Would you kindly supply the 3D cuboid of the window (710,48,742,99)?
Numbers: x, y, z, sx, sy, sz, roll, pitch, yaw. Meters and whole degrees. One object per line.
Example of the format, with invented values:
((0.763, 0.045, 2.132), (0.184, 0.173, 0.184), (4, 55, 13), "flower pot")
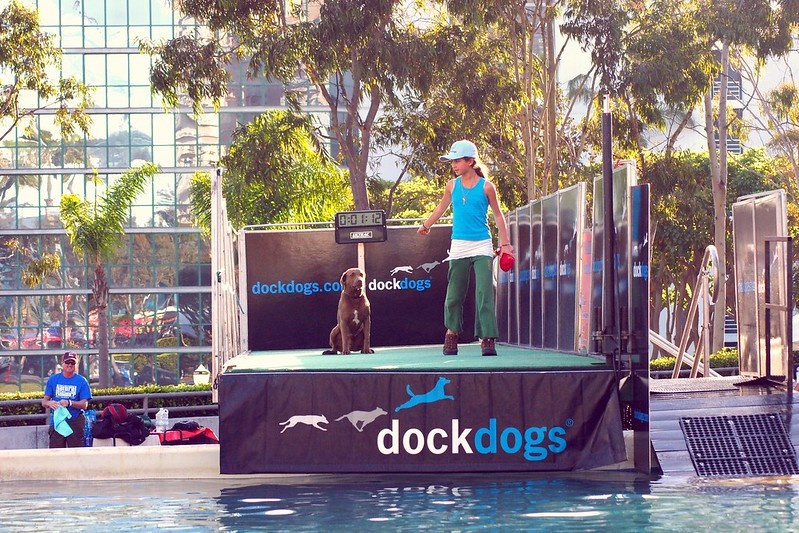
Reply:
((13.379, -8.171, 51.341), (1.385, 2.511, 1.492), (-2, 4, -8), "window")

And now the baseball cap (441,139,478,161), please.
((1.321, -2.516, 27.025), (0.624, 0.416, 0.439), (4, 0, -7), "baseball cap")

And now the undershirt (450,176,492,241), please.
((1.537, -1.272, 26.935), (0.983, 1.952, 0.898), (-2, -9, 9), "undershirt")

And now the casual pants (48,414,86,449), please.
((-7.963, 4.006, 29.706), (0.611, 0.970, 0.326), (0, -8, -5), "casual pants")
